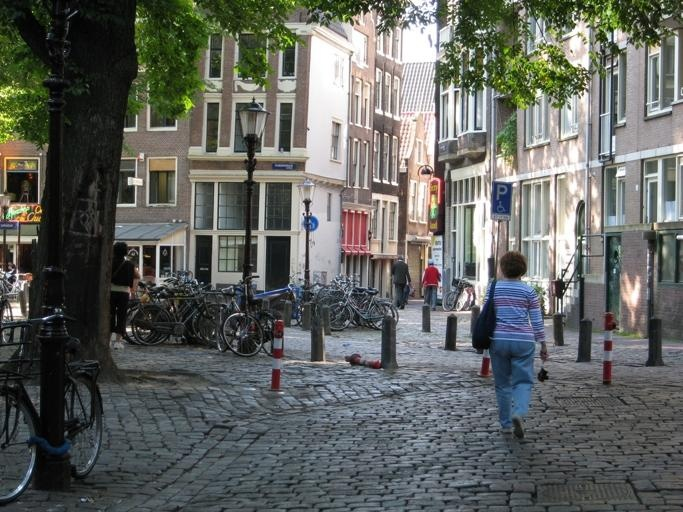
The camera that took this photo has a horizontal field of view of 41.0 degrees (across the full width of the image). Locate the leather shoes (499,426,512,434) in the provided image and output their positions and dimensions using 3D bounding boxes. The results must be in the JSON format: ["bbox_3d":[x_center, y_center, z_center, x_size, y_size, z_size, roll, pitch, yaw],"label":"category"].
[{"bbox_3d":[1.892,1.959,10.391,0.103,0.075,0.129,0,-2,14],"label":"leather shoes"}]

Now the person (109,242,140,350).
[{"bbox_3d":[-4.242,0.745,17.837,0.444,2.039,0.669,1,-2,-7],"label":"person"}]

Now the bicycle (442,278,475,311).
[{"bbox_3d":[5.018,1.490,38.934,1.078,0.925,1.768,-6,28,6],"label":"bicycle"}]

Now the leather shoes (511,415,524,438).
[{"bbox_3d":[1.969,1.892,10.185,0.107,0.286,0.122,-10,25,12],"label":"leather shoes"}]

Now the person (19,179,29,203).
[{"bbox_3d":[-16.589,-3.385,48.059,0.416,1.191,0.135,1,-2,-13],"label":"person"}]

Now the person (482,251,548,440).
[{"bbox_3d":[2.008,0.985,10.487,0.581,2.099,0.713,-1,-2,37],"label":"person"}]
